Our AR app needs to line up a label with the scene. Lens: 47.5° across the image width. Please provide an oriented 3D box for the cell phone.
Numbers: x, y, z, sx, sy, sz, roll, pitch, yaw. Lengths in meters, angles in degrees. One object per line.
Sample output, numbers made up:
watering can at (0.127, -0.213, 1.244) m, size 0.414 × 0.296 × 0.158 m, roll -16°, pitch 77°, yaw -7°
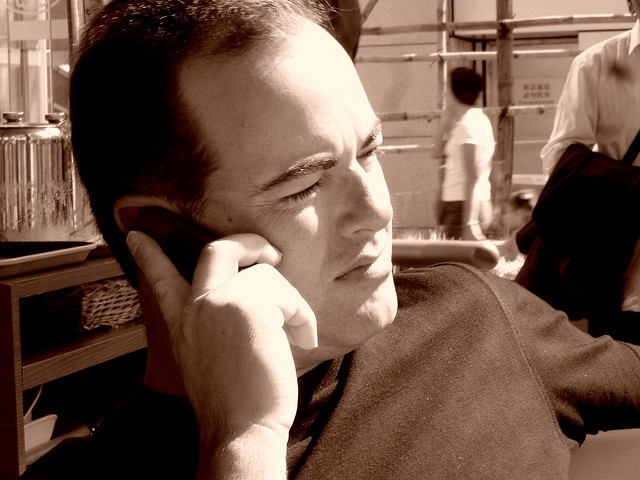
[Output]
cell phone at (-0.217, 0.003, 1.160) m, size 0.169 × 0.095 × 0.046 m, roll 40°, pitch -8°, yaw 12°
